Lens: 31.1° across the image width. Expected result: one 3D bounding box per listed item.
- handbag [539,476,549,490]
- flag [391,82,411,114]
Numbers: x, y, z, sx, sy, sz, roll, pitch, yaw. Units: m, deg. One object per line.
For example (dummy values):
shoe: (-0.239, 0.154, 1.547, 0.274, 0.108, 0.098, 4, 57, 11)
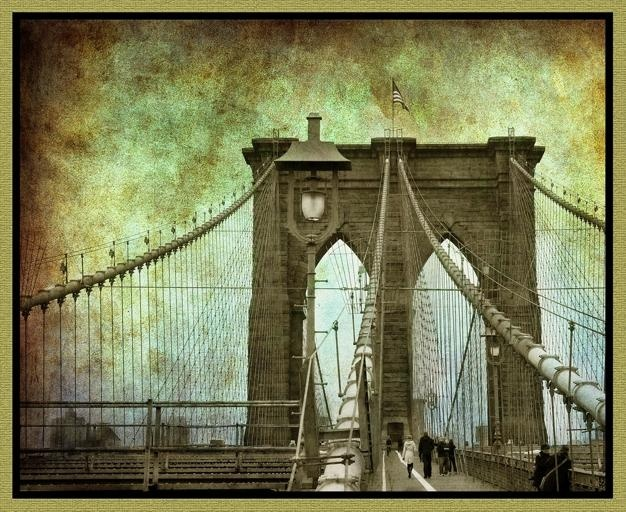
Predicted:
handbag: (2.881, 2.813, 14.050, 0.042, 0.181, 0.169, 8, 6, 21)
flag: (2.003, -3.670, 25.589, 0.048, 0.692, 0.496, -6, -4, 25)
